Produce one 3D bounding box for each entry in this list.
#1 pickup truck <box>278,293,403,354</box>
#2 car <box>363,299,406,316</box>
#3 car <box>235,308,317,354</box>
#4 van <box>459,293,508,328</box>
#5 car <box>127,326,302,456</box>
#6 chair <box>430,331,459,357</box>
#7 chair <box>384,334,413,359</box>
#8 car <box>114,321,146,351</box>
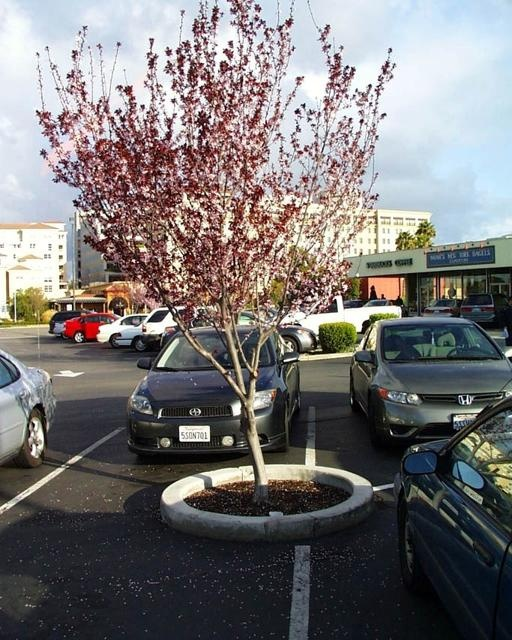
[{"bbox_3d":[3.364,-0.009,22.727,5.227,2.141,2.330,-4,28,36],"label":"pickup truck"},{"bbox_3d":[8.343,-0.826,31.207,2.469,1.041,1.351,-5,13,-6],"label":"car"},{"bbox_3d":[0.867,0.662,18.985,3.180,1.168,1.454,-2,11,1],"label":"car"},{"bbox_3d":[12.156,-0.553,25.477,1.612,1.453,3.067,2,11,35],"label":"van"},{"bbox_3d":[-0.536,0.889,6.879,1.507,1.077,2.560,-2,-3,7],"label":"car"},{"bbox_3d":[2.723,0.347,7.017,0.296,0.368,0.419,0,-14,17],"label":"chair"},{"bbox_3d":[2.098,0.367,6.998,0.290,0.238,0.497,-1,2,10],"label":"chair"},{"bbox_3d":[-6.801,0.979,25.768,2.366,1.152,1.216,2,1,1],"label":"car"}]
